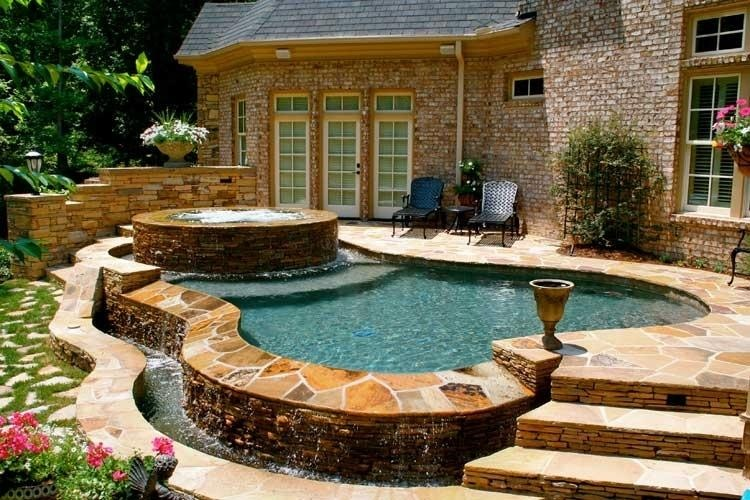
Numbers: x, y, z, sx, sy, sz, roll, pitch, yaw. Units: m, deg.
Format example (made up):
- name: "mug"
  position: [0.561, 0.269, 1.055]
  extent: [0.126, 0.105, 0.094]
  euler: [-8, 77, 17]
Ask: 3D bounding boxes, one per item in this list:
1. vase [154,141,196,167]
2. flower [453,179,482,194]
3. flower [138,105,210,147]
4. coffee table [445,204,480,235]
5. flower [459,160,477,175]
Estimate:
- name: "vase"
  position: [-4.890, -2.311, 12.946]
  extent: [0.862, 0.350, 0.724]
  euler: [2, 6, 8]
- name: "flower"
  position: [2.114, -1.456, 12.355]
  extent: [0.478, 0.239, 0.446]
  euler: [7, 11, 33]
- name: "flower"
  position: [-5.005, -3.018, 13.431]
  extent: [1.354, 0.858, 1.983]
  euler: [0, 7, -16]
- name: "coffee table"
  position: [1.938, -0.703, 12.322]
  extent: [0.819, 0.457, 0.816]
  euler: [7, 11, 41]
- name: "flower"
  position: [2.090, -1.940, 12.382]
  extent: [0.458, 0.327, 0.382]
  euler: [-11, 21, -26]
